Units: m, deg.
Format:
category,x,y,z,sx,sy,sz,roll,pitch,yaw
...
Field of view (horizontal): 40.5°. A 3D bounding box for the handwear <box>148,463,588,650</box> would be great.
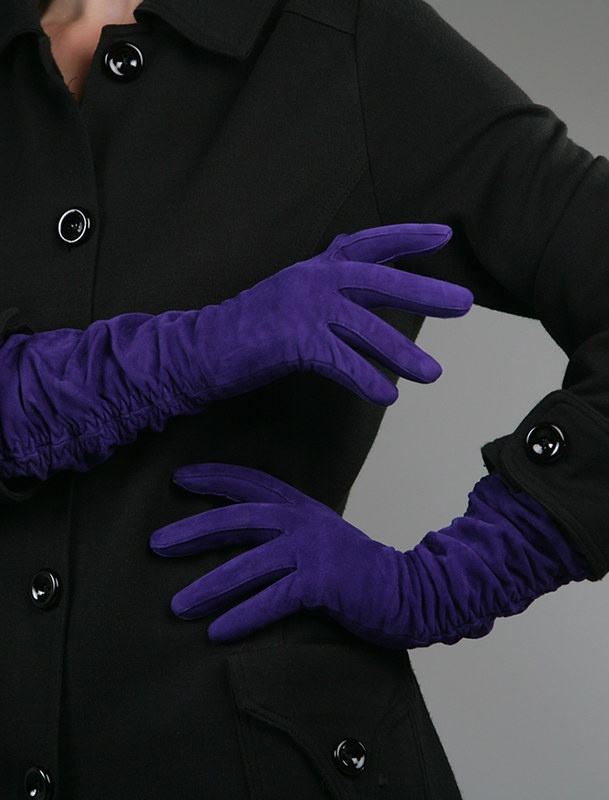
category,x,y,z,sx,sy,sz,roll,pitch,yaw
handwear,0.054,0.141,0.744,0.355,0.085,0.169,-1,57,-2
